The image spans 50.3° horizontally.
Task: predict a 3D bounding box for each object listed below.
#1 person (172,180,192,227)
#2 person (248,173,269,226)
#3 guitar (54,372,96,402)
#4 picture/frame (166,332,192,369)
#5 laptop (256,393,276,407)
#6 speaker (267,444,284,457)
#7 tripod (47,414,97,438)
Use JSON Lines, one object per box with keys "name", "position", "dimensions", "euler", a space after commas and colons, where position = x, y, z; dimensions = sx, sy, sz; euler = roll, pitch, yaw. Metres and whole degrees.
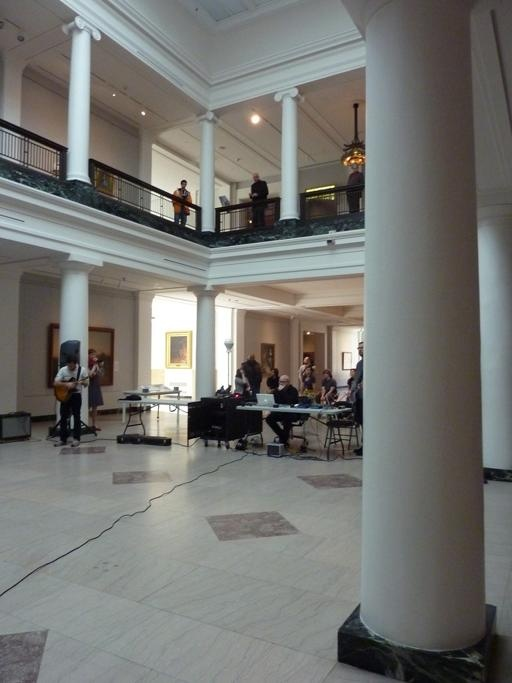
{"name": "person", "position": [-1.762, -3.275, 13.042], "dimensions": [0.429, 1.407, 1.489], "euler": [1, -3, -7]}
{"name": "person", "position": [0.068, -3.324, 13.152], "dimensions": [0.384, 1.407, 0.927], "euler": [0, -3, -2]}
{"name": "guitar", "position": [-3.083, 0.715, 9.105], "dimensions": [0.570, 0.568, 0.390], "euler": [2, -3, -38]}
{"name": "picture/frame", "position": [-2.741, 0.324, 19.607], "dimensions": [1.241, 1.529, 0.161], "euler": [-3, -5, 28]}
{"name": "laptop", "position": [0.173, 0.881, 8.816], "dimensions": [0.277, 0.196, 0.198], "euler": [2, 10, 36]}
{"name": "speaker", "position": [0.304, 1.698, 8.583], "dimensions": [0.302, 0.225, 0.172], "euler": [0, 1, 34]}
{"name": "tripod", "position": [-3.548, 1.650, 10.210], "dimensions": [0.521, 0.287, 0.671], "euler": [2, -1, -32]}
